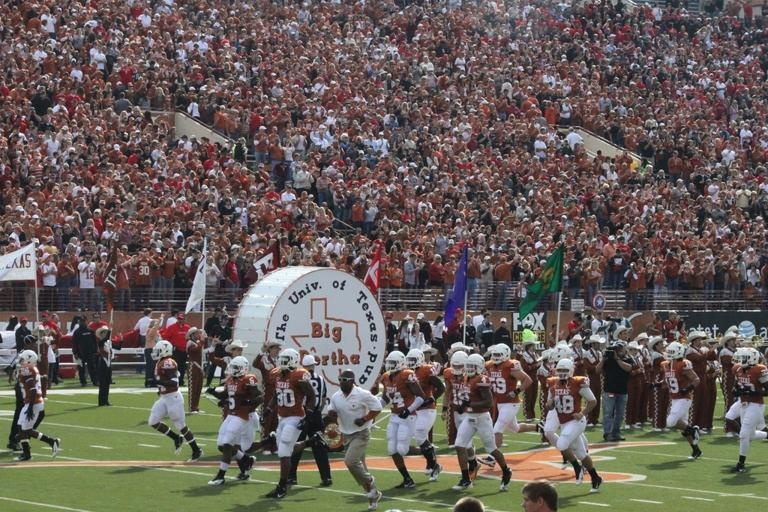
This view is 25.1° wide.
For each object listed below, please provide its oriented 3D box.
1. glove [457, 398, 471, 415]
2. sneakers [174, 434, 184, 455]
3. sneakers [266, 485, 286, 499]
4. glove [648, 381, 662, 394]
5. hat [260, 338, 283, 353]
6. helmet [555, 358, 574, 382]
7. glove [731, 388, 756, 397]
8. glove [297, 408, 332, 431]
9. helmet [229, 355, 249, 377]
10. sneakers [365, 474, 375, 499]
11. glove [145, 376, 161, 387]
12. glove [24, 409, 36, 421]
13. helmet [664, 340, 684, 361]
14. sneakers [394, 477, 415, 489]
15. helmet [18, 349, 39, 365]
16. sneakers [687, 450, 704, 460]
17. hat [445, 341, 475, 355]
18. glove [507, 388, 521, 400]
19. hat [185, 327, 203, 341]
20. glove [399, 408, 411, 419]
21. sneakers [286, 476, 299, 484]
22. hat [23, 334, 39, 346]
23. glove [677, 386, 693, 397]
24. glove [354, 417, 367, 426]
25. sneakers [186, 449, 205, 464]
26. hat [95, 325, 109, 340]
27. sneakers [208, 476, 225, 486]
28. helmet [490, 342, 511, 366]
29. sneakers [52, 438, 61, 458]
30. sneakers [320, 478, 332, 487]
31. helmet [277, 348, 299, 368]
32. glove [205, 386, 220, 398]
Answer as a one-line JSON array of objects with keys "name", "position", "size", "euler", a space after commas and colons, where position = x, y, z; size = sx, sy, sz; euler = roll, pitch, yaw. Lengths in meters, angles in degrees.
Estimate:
[{"name": "glove", "position": [2.337, 4.554, 51.607], "size": [0.395, 0.432, 0.306], "euler": [2, -16, 3]}, {"name": "sneakers", "position": [-6.527, 5.952, 54.029], "size": [0.211, 0.666, 0.297], "euler": [0, -3, 29]}, {"name": "sneakers", "position": [-3.239, 7.034, 50.976], "size": [0.552, 0.248, 0.291], "euler": [2, 0, -8]}, {"name": "glove", "position": [8.952, 4.372, 56.646], "size": [0.250, 0.465, 0.594], "euler": [-3, -2, -10]}, {"name": "hat", "position": [-3.565, 2.846, 53.925], "size": [0.566, 0.455, 0.785], "euler": [1, -6, -7]}, {"name": "helmet", "position": [5.441, 3.459, 52.176], "size": [0.502, 0.644, 0.338], "euler": [0, -6, 5]}, {"name": "glove", "position": [11.142, 4.302, 53.688], "size": [0.344, 0.214, 0.765], "euler": [4, -8, -31]}, {"name": "glove", "position": [-2.226, 4.871, 51.538], "size": [0.692, 0.754, 0.491], "euler": [16, -18, -22]}, {"name": "helmet", "position": [-4.506, 3.408, 52.398], "size": [0.645, 0.607, 0.401], "euler": [1, -6, -8]}, {"name": "sneakers", "position": [-0.420, 6.807, 50.433], "size": [0.205, 0.639, 0.264], "euler": [-1, 11, 23]}, {"name": "glove", "position": [-8.469, 4.593, 62.356], "size": [0.369, 0.417, 1.336], "euler": [2, -7, -20]}, {"name": "glove", "position": [-11.014, 4.884, 53.287], "size": [0.305, 0.416, 0.091], "euler": [2, -6, -21]}, {"name": "helmet", "position": [9.323, 3.108, 55.477], "size": [0.580, 0.497, 0.442], "euler": [6, 7, 19]}, {"name": "sneakers", "position": [0.575, 6.898, 51.790], "size": [0.653, 0.295, 0.225], "euler": [-2, 2, -6]}, {"name": "helmet", "position": [-11.146, 3.200, 53.666], "size": [0.527, 0.430, 0.395], "euler": [10, -1, 12]}, {"name": "sneakers", "position": [9.852, 6.327, 54.488], "size": [0.256, 0.205, 0.578], "euler": [7, -19, -5]}, {"name": "hat", "position": [2.215, 2.877, 54.482], "size": [0.545, 0.178, 0.516], "euler": [-26, -31, 30]}, {"name": "glove", "position": [4.001, 4.328, 53.517], "size": [0.392, 0.145, 0.292], "euler": [-35, -11, -36]}, {"name": "hat", "position": [-6.477, 2.615, 57.543], "size": [0.410, 0.140, 0.416], "euler": [11, -30, -34]}, {"name": "glove", "position": [0.572, 4.777, 51.771], "size": [0.339, 0.294, 0.160], "euler": [0, -6, 0]}, {"name": "sneakers", "position": [-2.779, 6.843, 52.049], "size": [0.187, 0.203, 0.441], "euler": [-3, -7, 28]}, {"name": "hat", "position": [-12.179, 2.920, 58.876], "size": [0.231, 0.309, 0.309], "euler": [-20, -10, -23]}, {"name": "glove", "position": [9.626, 4.363, 54.884], "size": [0.533, 0.421, 0.512], "euler": [2, -7, -18]}, {"name": "glove", "position": [-0.756, 4.912, 50.604], "size": [0.354, 0.242, 0.093], "euler": [0, -6, -2]}, {"name": "sneakers", "position": [-5.941, 6.292, 53.711], "size": [0.290, 0.671, 0.240], "euler": [49, -11, -21]}, {"name": "hat", "position": [-9.865, 2.729, 59.904], "size": [0.456, 0.481, 0.376], "euler": [1, -8, 32]}, {"name": "sneakers", "position": [-5.086, 6.816, 51.795], "size": [0.526, 0.235, 0.194], "euler": [2, 3, -2]}, {"name": "helmet", "position": [3.584, 3.079, 53.665], "size": [0.635, 0.514, 0.470], "euler": [6, -6, -42]}, {"name": "sneakers", "position": [-10.303, 5.980, 53.625], "size": [0.284, 0.697, 0.231], "euler": [5, 1, 11]}, {"name": "sneakers", "position": [-1.788, 6.877, 51.964], "size": [0.400, 0.179, 0.165], "euler": [1, 1, 2]}, {"name": "helmet", "position": [-2.974, 3.131, 51.728], "size": [0.591, 0.510, 0.491], "euler": [6, -7, -33]}, {"name": "glove", "position": [-5.327, 4.214, 52.844], "size": [0.362, 0.367, 0.656], "euler": [6, -12, -13]}]
